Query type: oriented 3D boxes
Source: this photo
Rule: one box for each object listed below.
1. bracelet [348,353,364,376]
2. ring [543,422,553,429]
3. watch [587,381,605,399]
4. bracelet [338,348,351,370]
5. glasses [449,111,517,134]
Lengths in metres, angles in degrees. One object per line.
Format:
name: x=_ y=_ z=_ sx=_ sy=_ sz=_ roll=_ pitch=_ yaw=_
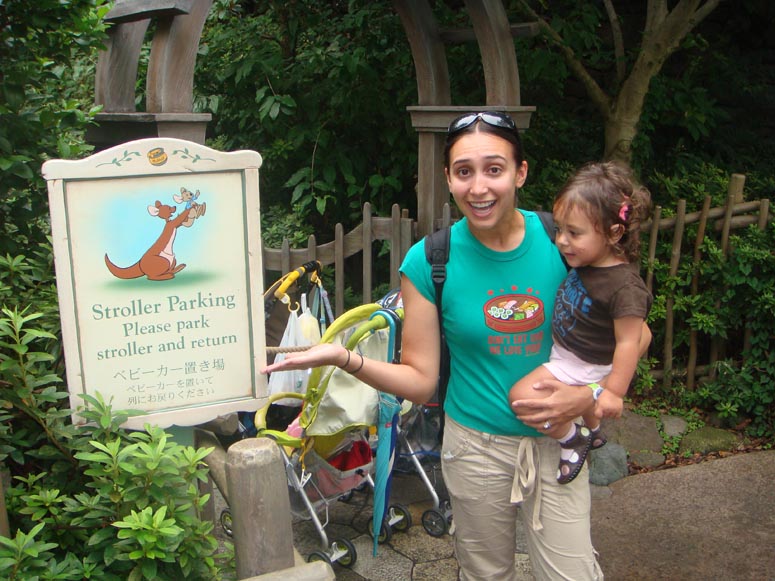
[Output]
bracelet: x=-0.115 y=0.288 z=2.946 sx=0.058 sy=0.079 sz=0.046 roll=-3 pitch=6 yaw=1
ring: x=0.609 y=0.510 z=2.908 sx=0.028 sy=0.025 sz=0.006 roll=-2 pitch=23 yaw=-2
watch: x=0.814 y=0.388 z=2.997 sx=0.049 sy=0.059 sz=0.060 roll=-21 pitch=-3 yaw=-2
bracelet: x=-0.162 y=0.266 z=2.936 sx=0.036 sy=0.082 sz=0.072 roll=-6 pitch=6 yaw=-22
glasses: x=0.360 y=-0.642 z=2.920 sx=0.252 sy=0.081 sz=0.082 roll=-3 pitch=6 yaw=5
